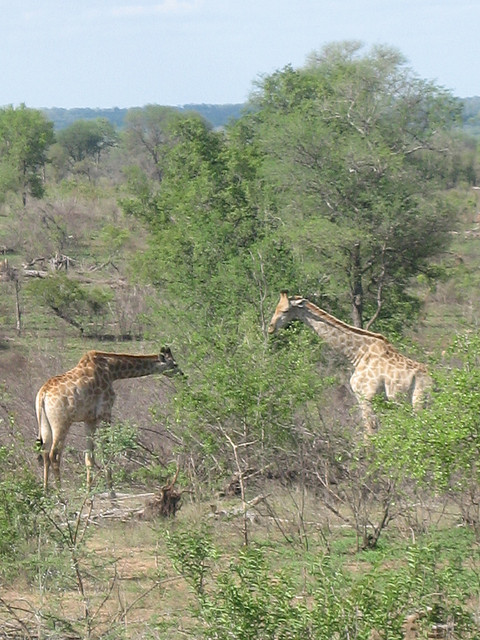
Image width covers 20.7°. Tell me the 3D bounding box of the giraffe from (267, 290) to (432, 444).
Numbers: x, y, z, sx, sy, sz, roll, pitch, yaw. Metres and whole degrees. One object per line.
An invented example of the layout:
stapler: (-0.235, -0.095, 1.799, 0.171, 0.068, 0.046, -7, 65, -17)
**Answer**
giraffe: (1.628, 0.346, 18.735, 2.196, 1.687, 0.807, -5, -5, 40)
